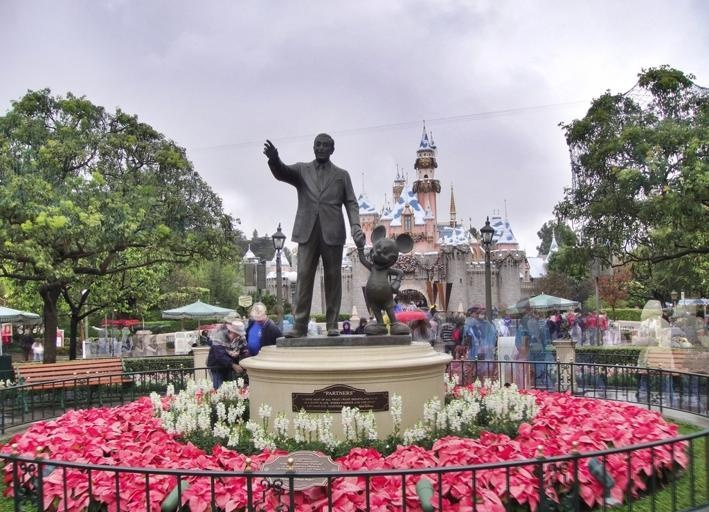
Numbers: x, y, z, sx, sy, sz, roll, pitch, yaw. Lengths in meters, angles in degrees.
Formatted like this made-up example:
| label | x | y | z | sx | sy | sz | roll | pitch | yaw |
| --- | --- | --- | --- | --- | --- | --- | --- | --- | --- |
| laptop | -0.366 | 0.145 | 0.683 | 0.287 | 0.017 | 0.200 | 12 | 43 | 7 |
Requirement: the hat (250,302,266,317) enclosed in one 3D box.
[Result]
| label | x | y | z | sx | sy | sz | roll | pitch | yaw |
| --- | --- | --- | --- | --- | --- | --- | --- | --- | --- |
| hat | -1.968 | 1.101 | 16.777 | 0.222 | 0.298 | 0.320 | 7 | -14 | -11 |

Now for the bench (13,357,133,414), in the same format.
| label | x | y | z | sx | sy | sz | roll | pitch | yaw |
| --- | --- | --- | --- | --- | --- | --- | --- | --- | --- |
| bench | -7.217 | 3.274 | 20.610 | 2.349 | 1.156 | 5.561 | 0 | -6 | -11 |

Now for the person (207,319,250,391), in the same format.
| label | x | y | z | sx | sy | sz | roll | pitch | yaw |
| --- | --- | --- | --- | --- | --- | --- | --- | --- | --- |
| person | -2.624 | 1.986 | 16.773 | 0.878 | 1.456 | 0.792 | -2 | -5 | 10 |

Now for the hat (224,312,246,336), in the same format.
| label | x | y | z | sx | sy | sz | roll | pitch | yaw |
| --- | --- | --- | --- | --- | --- | --- | --- | --- | --- |
| hat | -2.440 | 1.403 | 16.808 | 0.412 | 0.481 | 0.608 | 0 | -5 | -8 |

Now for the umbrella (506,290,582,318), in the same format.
| label | x | y | z | sx | sy | sz | roll | pitch | yaw |
| --- | --- | --- | --- | --- | --- | --- | --- | --- | --- |
| umbrella | 9.713 | 2.466 | 42.224 | 1.966 | 0.956 | 2.161 | 2 | -7 | -19 |
